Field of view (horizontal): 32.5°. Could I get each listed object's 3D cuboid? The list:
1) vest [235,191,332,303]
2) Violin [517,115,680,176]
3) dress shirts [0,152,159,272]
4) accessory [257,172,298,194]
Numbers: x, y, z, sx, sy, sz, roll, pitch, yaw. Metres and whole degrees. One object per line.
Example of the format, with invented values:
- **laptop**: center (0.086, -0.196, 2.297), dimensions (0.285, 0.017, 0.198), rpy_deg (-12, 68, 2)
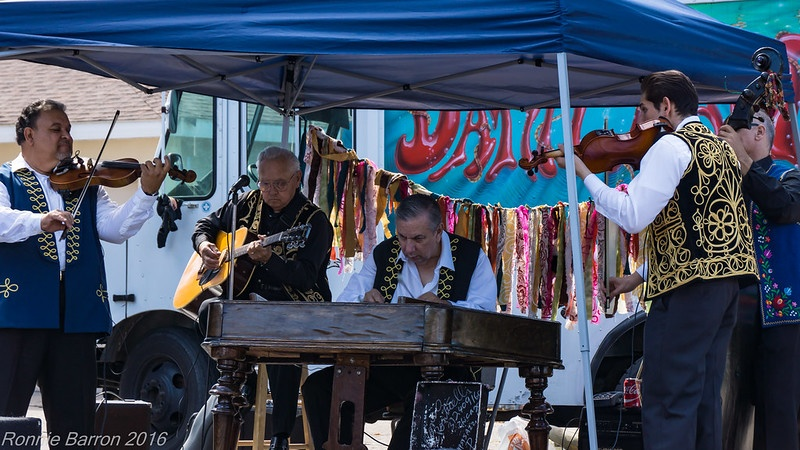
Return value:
- **vest**: center (-0.855, 0.166, 10.907), dimensions (0.919, 0.775, 0.274), rpy_deg (-10, -16, 36)
- **Violin**: center (1.458, -0.580, 9.974), dimensions (1.170, 0.348, 0.233), rpy_deg (-5, 26, 12)
- **dress shirts**: center (-2.401, -0.109, 10.261), dimensions (1.358, 0.376, 0.675), rpy_deg (-13, 0, -18)
- **accessory**: center (-0.948, -0.340, 11.028), dimensions (0.217, 0.093, 0.232), rpy_deg (-1, -3, 2)
